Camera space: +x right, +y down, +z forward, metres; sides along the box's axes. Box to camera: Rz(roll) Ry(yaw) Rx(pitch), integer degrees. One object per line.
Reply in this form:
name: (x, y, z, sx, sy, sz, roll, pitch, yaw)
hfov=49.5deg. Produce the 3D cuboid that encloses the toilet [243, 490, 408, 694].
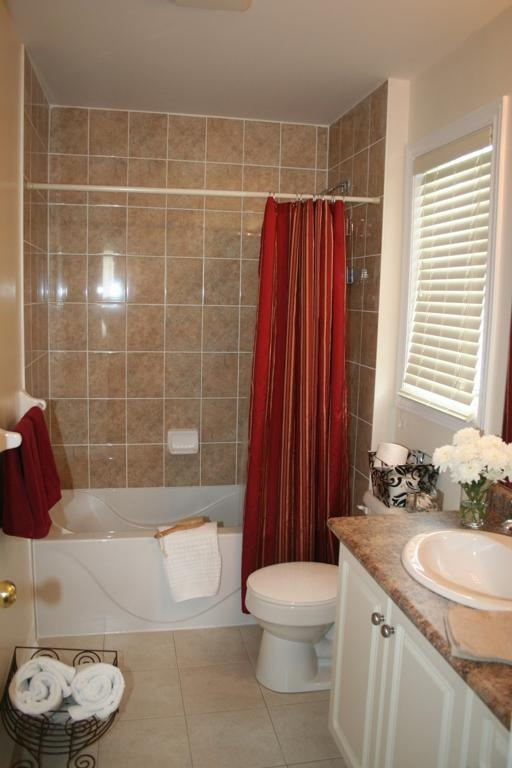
toilet: (0.225, 0.788, 2.199, 0.485, 0.826, 0.334, 0, 11, 8)

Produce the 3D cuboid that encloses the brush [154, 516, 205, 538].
brush: (-0.385, 0.714, 2.746, 0.148, 0.042, 0.165, -10, -10, 5)

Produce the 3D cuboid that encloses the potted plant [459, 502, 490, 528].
potted plant: (0.601, 0.359, 1.555, 0.063, 0.077, 0.066, 1, 4, -7)

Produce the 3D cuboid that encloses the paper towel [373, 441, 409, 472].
paper towel: (0.545, 0.291, 2.243, 0.098, 0.088, 0.102, 5, 1, 1)

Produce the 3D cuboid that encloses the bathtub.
bathtub: (-0.666, 0.721, 2.704, 0.918, 0.452, 0.555, -1, 37, -2)
